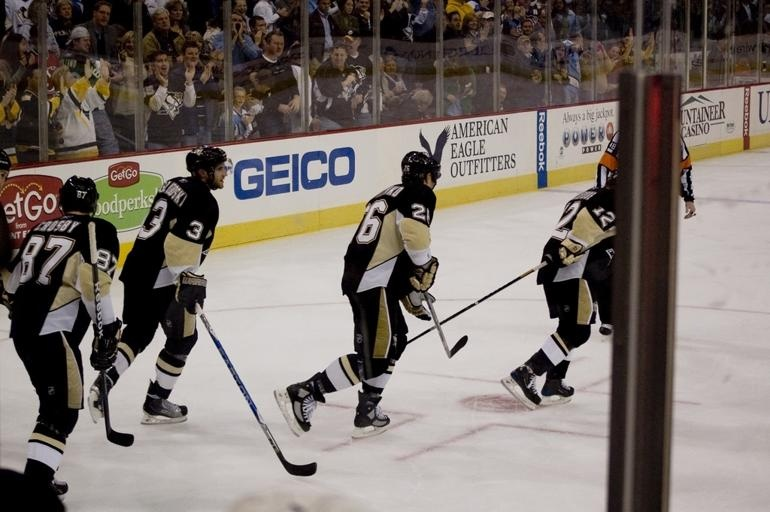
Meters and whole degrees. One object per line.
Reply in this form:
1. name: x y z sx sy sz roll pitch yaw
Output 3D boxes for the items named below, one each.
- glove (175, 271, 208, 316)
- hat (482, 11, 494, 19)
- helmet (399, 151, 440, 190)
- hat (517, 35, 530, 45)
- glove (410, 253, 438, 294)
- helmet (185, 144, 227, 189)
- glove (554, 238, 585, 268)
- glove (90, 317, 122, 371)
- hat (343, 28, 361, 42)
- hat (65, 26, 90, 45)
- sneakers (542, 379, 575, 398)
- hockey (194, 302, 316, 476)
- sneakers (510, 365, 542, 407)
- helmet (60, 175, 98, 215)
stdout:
1. glove: -1.113 0.209 5.262 0.176 0.235 0.087 18 1 -14
2. hat: 1.372 -3.239 12.335 0.109 0.081 0.140 -7 -12 -6
3. helmet: 0.194 -0.500 5.400 0.222 0.202 0.194 -23 27 -37
4. hat: 1.917 -3.009 12.784 0.131 0.094 0.163 -2 -15 0
5. glove: 0.234 0.100 5.281 0.155 0.194 0.090 5 10 16
6. helmet: -1.056 -0.520 5.449 0.221 0.255 0.257 -6 10 -11
7. glove: 1.102 -0.020 5.528 0.163 0.121 0.069 -2 -8 -3
8. glove: -1.412 0.436 4.654 0.115 0.309 0.131 2 22 -3
9. hat: -0.386 -2.616 10.849 0.182 0.092 0.121 20 15 -25
10. hat: -2.859 -2.040 8.553 0.199 0.173 0.150 -2 4 -24
11. sneakers: 1.048 0.819 5.581 0.182 0.124 0.101 -4 6 4
12. hockey: -0.814 0.846 5.698 0.160 0.142 1.191 -7 42 -32
13. sneakers: 0.847 0.792 5.578 0.190 0.244 0.119 -2 11 7
14. helmet: -1.512 -0.302 4.626 0.171 0.201 0.197 6 26 -15
